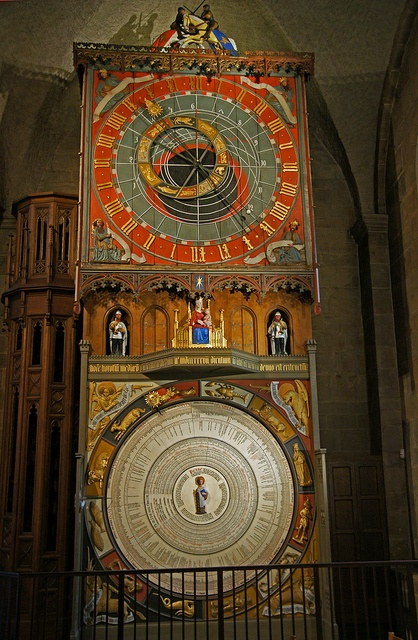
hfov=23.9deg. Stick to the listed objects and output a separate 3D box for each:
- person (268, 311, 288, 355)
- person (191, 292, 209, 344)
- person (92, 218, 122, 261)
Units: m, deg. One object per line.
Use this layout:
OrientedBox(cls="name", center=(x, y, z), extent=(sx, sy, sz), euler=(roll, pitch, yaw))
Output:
OrientedBox(cls="person", center=(1.057, 0.241, 15.313), extent=(0.238, 0.730, 0.387), euler=(9, -27, -23))
OrientedBox(cls="person", center=(-0.149, 0.010, 14.833), extent=(0.273, 0.767, 0.170), euler=(-2, -24, 0))
OrientedBox(cls="person", center=(-1.595, -1.249, 15.324), extent=(0.659, 0.843, 0.150), euler=(3, -26, -15))
